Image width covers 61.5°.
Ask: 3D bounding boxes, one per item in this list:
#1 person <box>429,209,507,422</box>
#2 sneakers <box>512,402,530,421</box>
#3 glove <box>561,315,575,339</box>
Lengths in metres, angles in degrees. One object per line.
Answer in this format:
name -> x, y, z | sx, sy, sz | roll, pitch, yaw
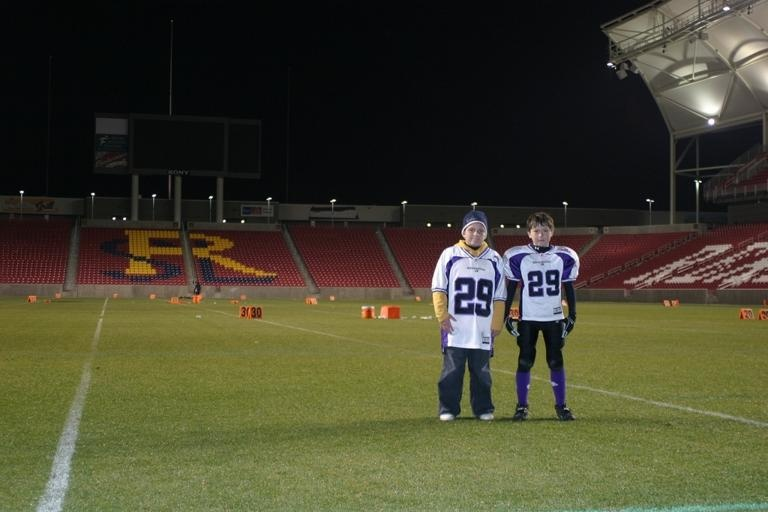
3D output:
person -> 1.017, 0.683, 7.783 | 0.824, 2.512, 0.573 | 4, -5, -41
sneakers -> 1.621, 1.863, 7.700 | 0.152, 0.166, 0.236 | -2, -4, 33
glove -> 2.203, 0.855, 7.787 | 0.177, 0.283, 0.113 | 44, -29, -28
